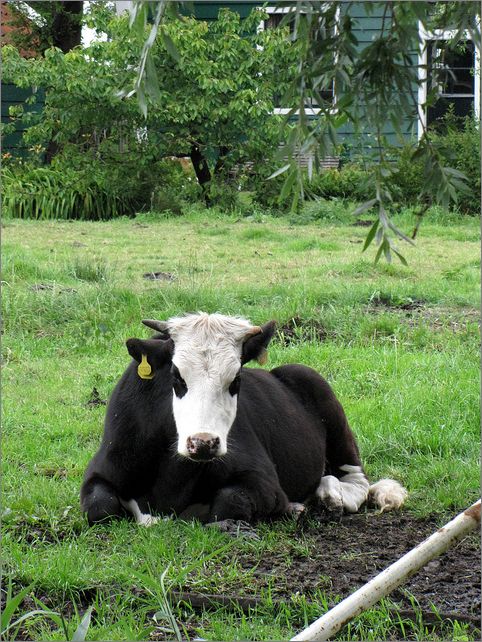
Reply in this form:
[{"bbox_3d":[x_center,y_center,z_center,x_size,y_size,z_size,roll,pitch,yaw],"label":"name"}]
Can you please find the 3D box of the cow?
[{"bbox_3d":[-0.005,0.443,3.744,1.374,0.956,0.906,-1,6,-41],"label":"cow"}]
